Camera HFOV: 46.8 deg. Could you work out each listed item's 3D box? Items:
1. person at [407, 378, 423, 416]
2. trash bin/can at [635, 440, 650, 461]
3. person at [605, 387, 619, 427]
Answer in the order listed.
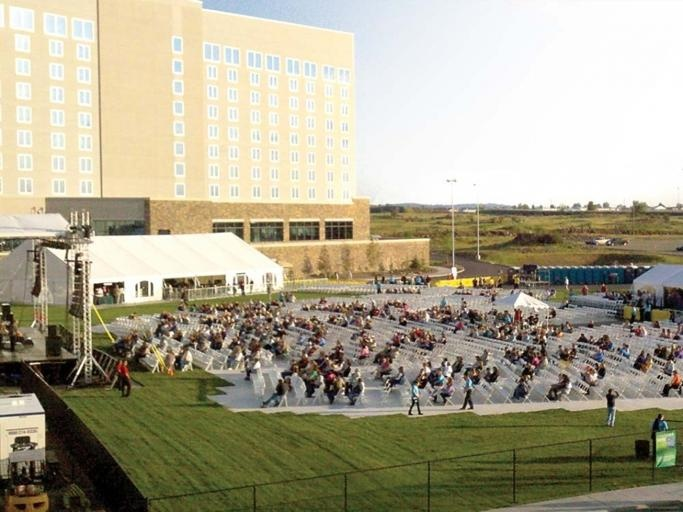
[{"bbox_3d":[2.954,5.688,31.669,0.578,1.163,1.696,-2,-2,5],"label":"person"},{"bbox_3d":[10.146,6.520,26.562,0.461,0.640,0.302,-3,-3,13],"label":"trash bin/can"},{"bbox_3d":[10.112,5.630,29.545,0.340,1.354,1.037,-3,-2,19],"label":"person"}]
